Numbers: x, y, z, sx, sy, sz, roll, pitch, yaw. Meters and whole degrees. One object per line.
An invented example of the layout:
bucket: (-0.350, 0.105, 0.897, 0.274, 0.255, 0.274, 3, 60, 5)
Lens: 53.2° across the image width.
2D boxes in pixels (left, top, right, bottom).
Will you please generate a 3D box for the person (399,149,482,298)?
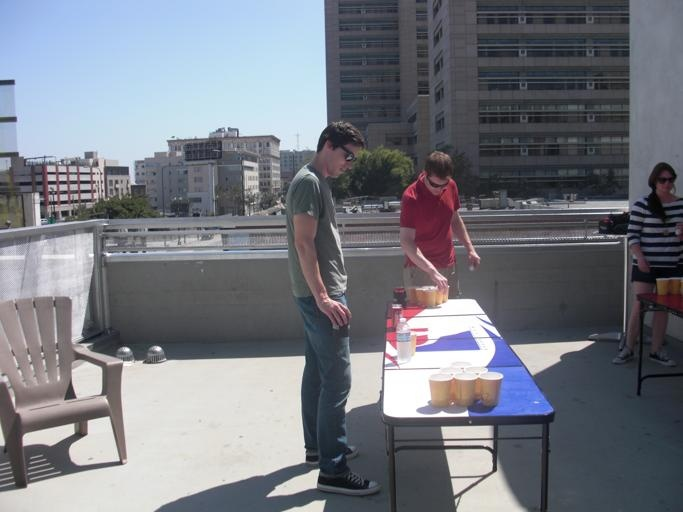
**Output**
person: (0.924, -0.265, 6.530, 0.556, 1.459, 0.977, 9, 17, 37)

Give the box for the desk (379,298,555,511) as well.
desk: (0.857, 1.042, 5.201, 1.102, 1.006, 1.544, -1, 15, 3)

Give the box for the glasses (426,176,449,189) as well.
glasses: (0.877, -0.676, 6.285, 0.190, 0.128, 0.111, -1, 14, 1)

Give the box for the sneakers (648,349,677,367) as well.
sneakers: (3.471, 1.099, 7.399, 0.102, 0.136, 0.302, -6, 6, -24)

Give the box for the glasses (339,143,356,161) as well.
glasses: (0.057, -0.808, 5.342, 0.032, 0.107, 0.095, -35, -43, 23)

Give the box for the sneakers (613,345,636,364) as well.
sneakers: (3.103, 1.106, 7.549, 0.333, 0.166, 0.112, 0, -4, -38)

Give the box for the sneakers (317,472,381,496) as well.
sneakers: (0.050, 1.804, 5.374, 0.466, 0.227, 0.192, 0, 0, -1)

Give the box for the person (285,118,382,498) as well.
person: (-0.099, 0.413, 5.386, 0.613, 2.824, 0.776, -3, 13, -5)

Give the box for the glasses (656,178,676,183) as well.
glasses: (3.444, -0.803, 7.235, 0.170, 0.066, 0.065, -2, 14, 0)
